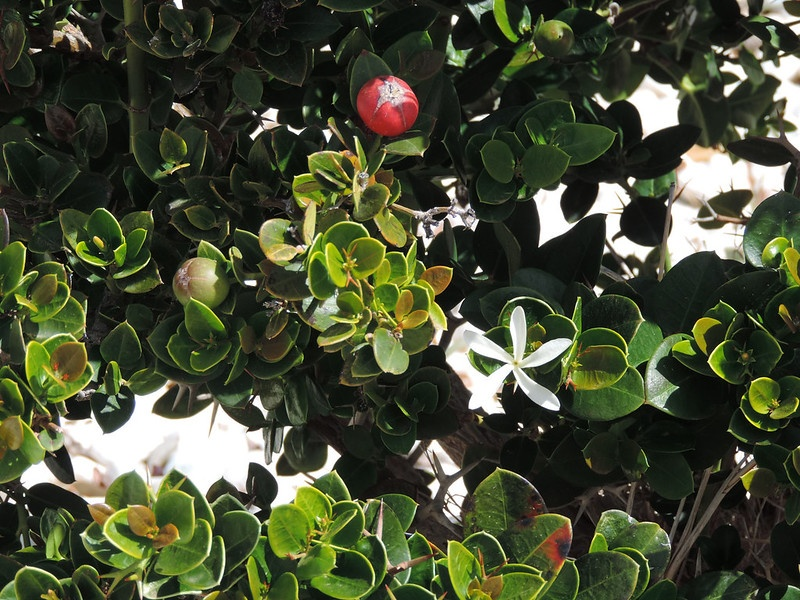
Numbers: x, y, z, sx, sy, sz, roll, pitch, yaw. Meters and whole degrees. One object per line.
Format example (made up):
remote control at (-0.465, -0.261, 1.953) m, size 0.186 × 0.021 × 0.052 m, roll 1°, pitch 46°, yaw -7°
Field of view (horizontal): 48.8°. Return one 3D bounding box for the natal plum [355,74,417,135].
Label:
natal plum at (-0.022, -0.269, 1.205) m, size 0.066 × 0.078 × 0.085 m, roll 1°, pitch -68°, yaw 1°

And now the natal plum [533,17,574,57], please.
natal plum at (0.230, -0.399, 1.335) m, size 0.059 × 0.067 × 0.043 m, roll 2°, pitch -91°, yaw -14°

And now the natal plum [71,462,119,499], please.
natal plum at (-0.872, 0.521, 2.510) m, size 0.124 × 0.085 × 0.078 m, roll 7°, pitch -59°, yaw 8°
